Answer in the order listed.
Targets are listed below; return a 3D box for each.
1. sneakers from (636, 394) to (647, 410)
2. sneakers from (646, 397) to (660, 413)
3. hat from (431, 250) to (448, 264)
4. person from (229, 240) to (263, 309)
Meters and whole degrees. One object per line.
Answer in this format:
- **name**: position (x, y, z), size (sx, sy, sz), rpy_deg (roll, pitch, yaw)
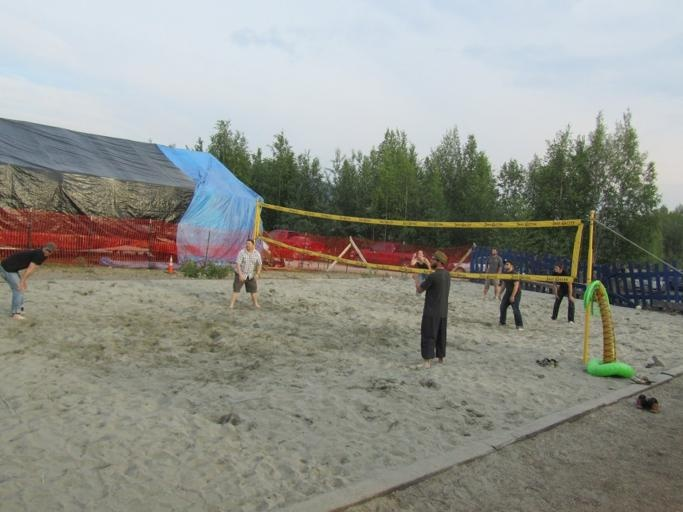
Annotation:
- **sneakers**: position (4.260, 2.080, 8.592), size (0.177, 0.193, 0.130), rpy_deg (-8, 5, -41)
- **sneakers**: position (4.387, 2.100, 8.447), size (0.119, 0.086, 0.188), rpy_deg (-15, 17, 23)
- **hat**: position (1.602, 0.022, 9.908), size (0.214, 0.169, 0.305), rpy_deg (7, 2, -7)
- **person**: position (-2.061, 0.335, 12.859), size (0.624, 1.544, 1.541), rpy_deg (0, 15, -9)
